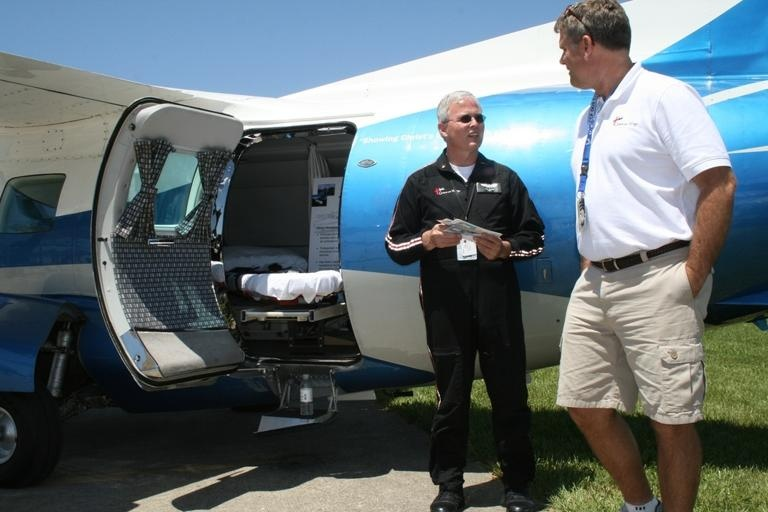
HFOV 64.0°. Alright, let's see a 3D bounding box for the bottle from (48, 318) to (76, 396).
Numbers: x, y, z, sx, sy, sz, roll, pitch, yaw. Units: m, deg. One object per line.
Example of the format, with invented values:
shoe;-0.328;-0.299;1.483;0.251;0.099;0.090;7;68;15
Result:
bottle;-2.671;0.838;5.035;0.223;0.675;0.185;-4;1;-26
